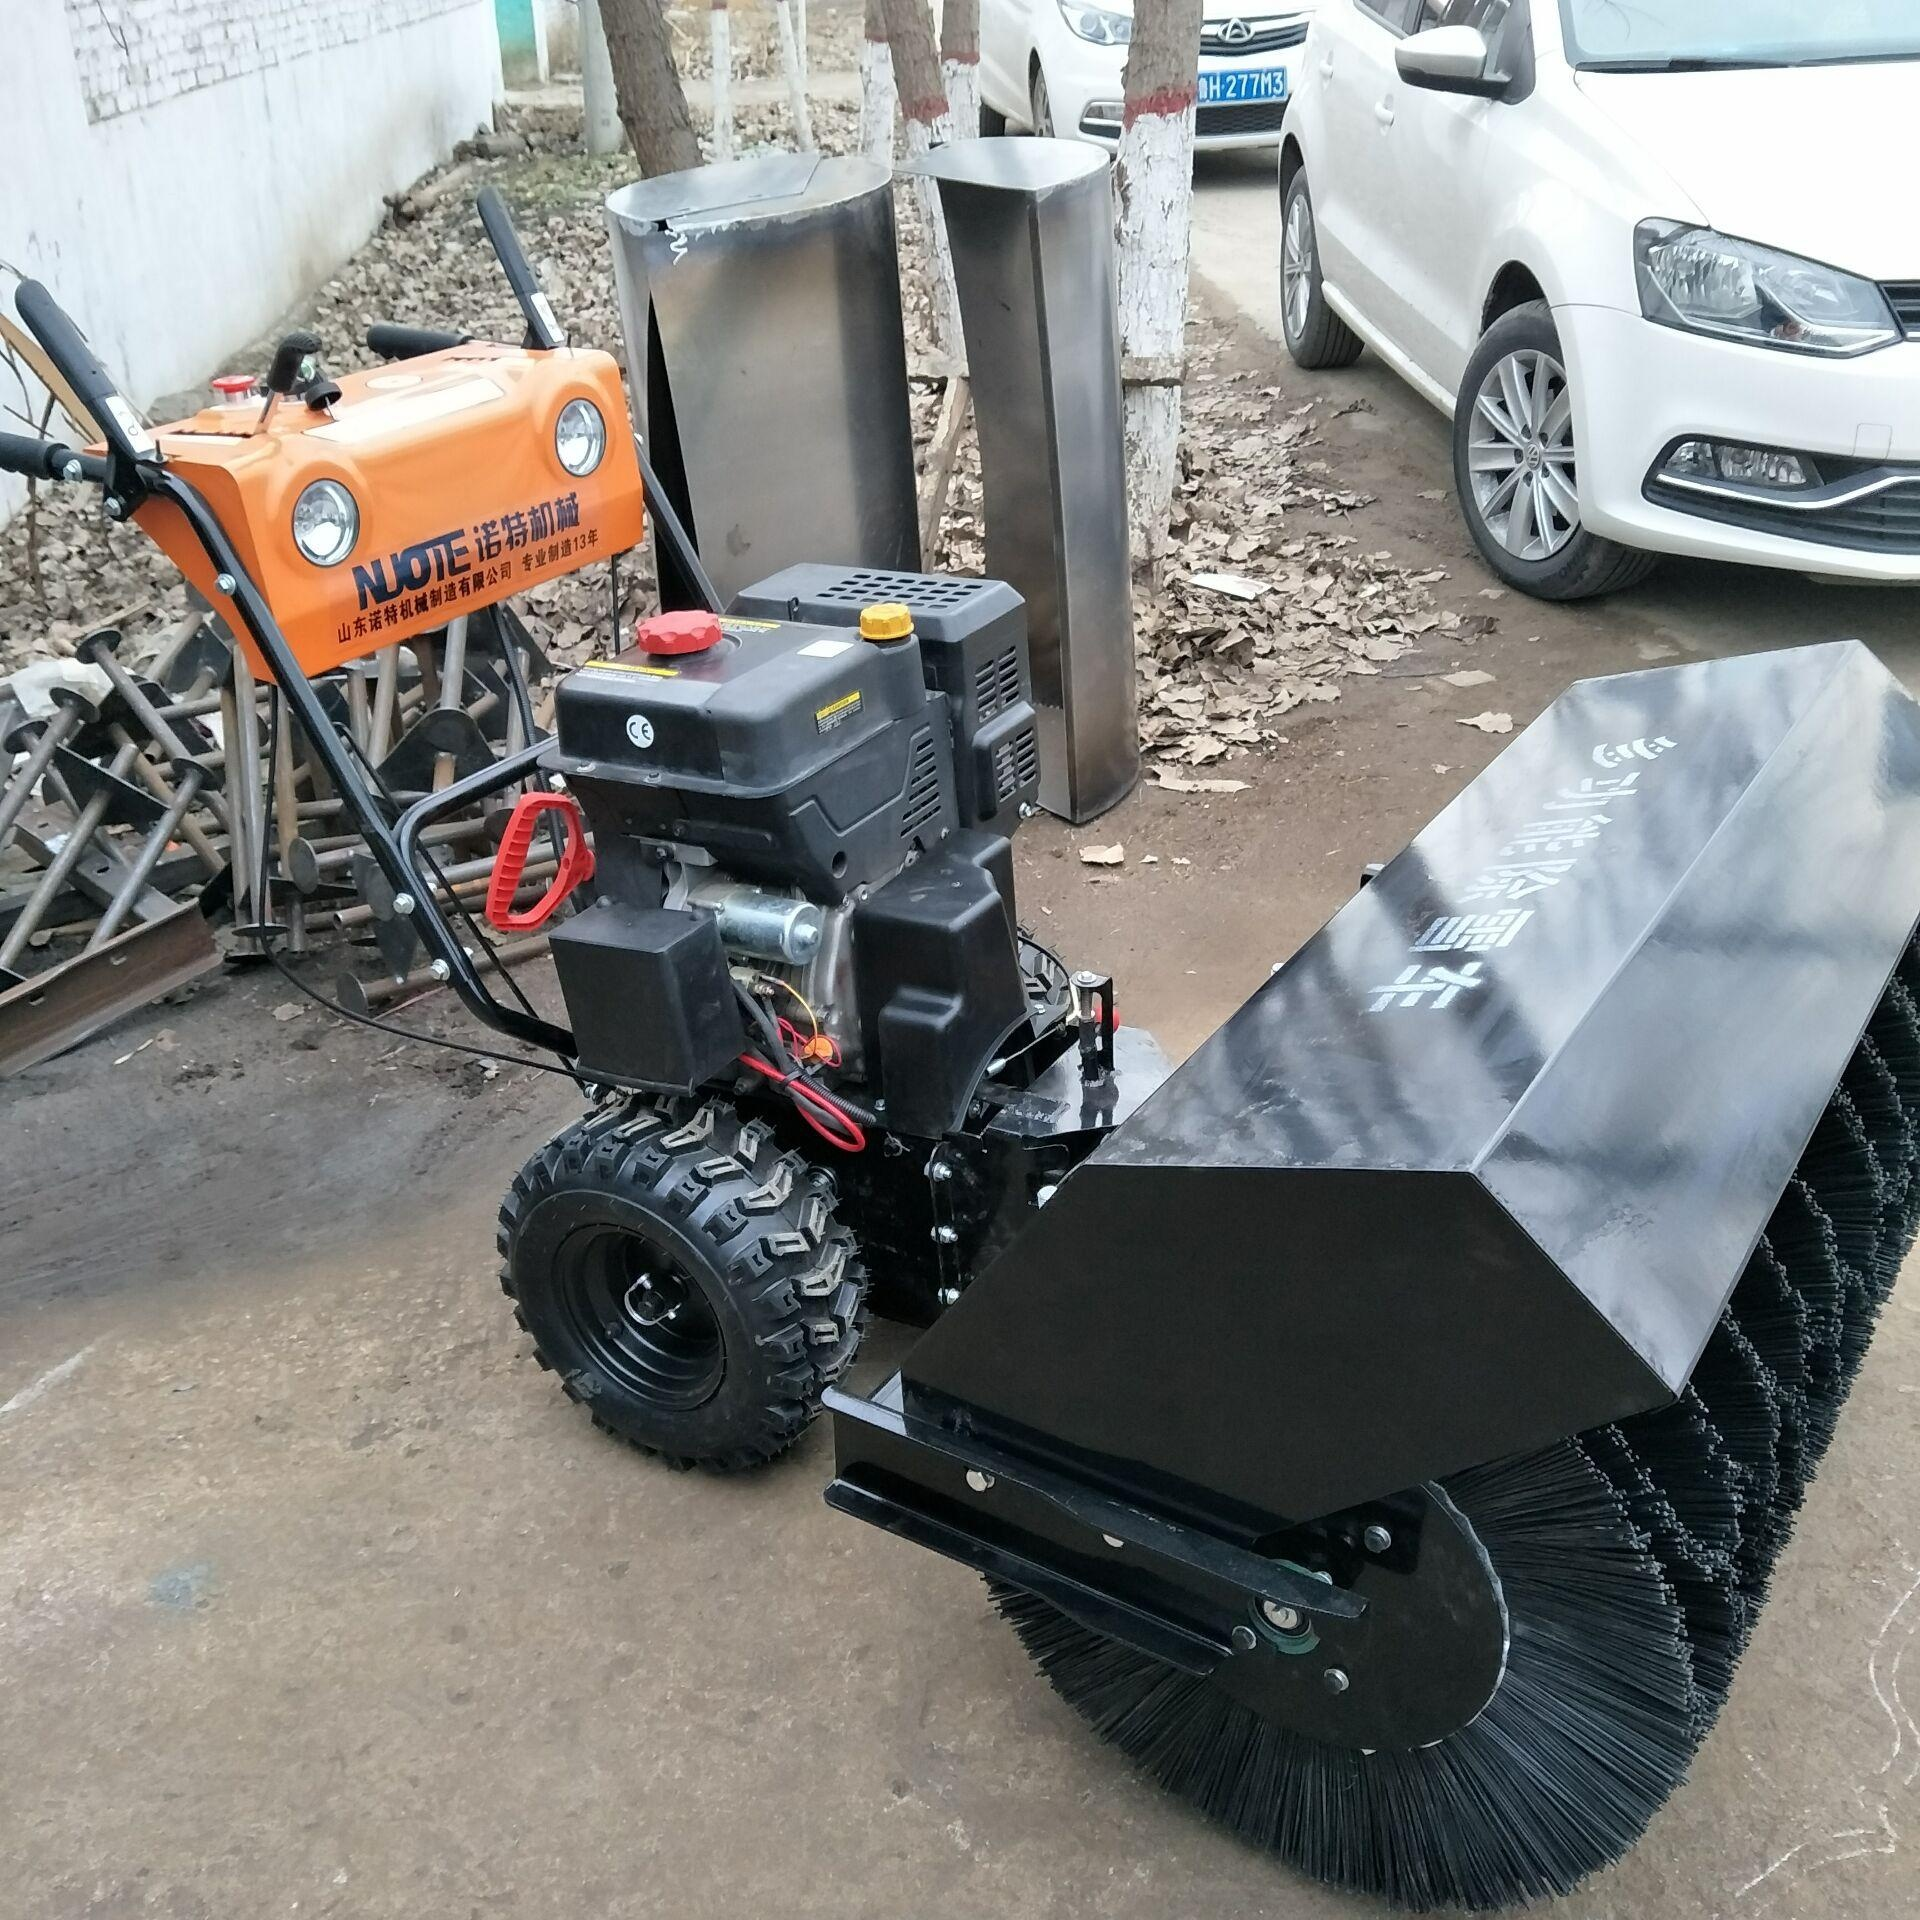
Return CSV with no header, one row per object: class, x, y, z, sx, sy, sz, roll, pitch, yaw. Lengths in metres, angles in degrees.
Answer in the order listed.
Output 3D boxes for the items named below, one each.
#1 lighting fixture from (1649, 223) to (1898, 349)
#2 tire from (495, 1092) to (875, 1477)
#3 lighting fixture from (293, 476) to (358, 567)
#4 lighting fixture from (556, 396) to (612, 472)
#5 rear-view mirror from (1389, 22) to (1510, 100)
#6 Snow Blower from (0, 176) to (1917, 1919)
lighting fixture,1.993,-1.659,4.478,0.474,0.184,0.357,4,40,20
tire,-0.401,0.497,2.747,0.481,0.476,0.170,23,21,20
lighting fixture,-1.080,-0.753,3.073,0.029,0.121,0.125,11,9,41
lighting fixture,-0.739,-1.007,3.490,0.030,0.120,0.120,2,46,17
rear-view mirror,1.492,-2.686,5.447,0.329,0.247,0.108,0,-4,20
Snow Blower,-0.183,-0.010,2.742,2.807,1.348,1.611,11,31,27
